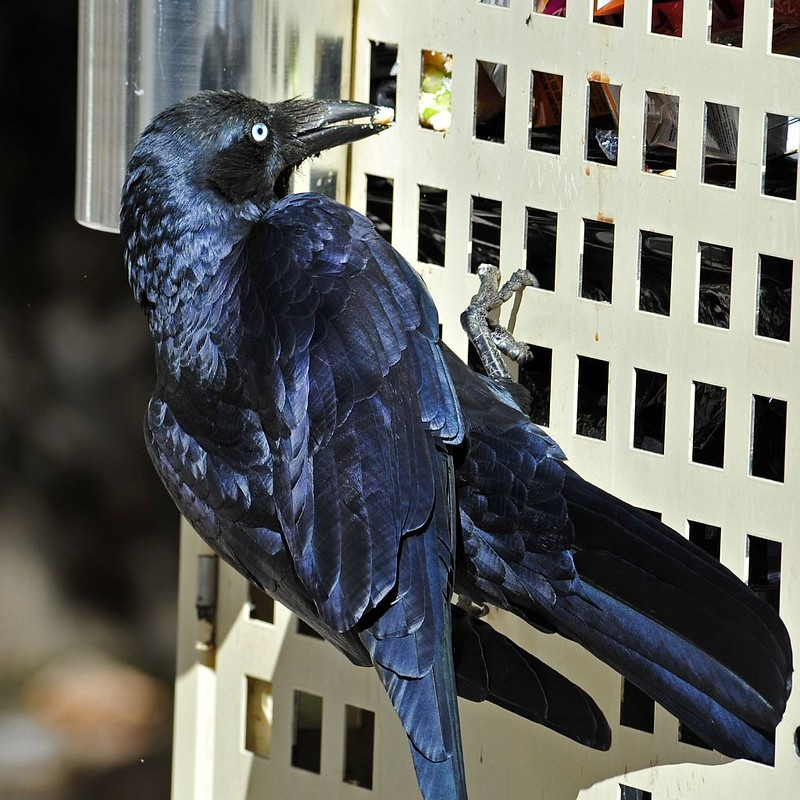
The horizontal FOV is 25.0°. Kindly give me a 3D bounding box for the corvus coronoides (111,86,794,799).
[{"bbox_3d":[0.002,0.032,1.964,0.380,1.039,0.470,10,-44,-45],"label":"corvus coronoides"}]
